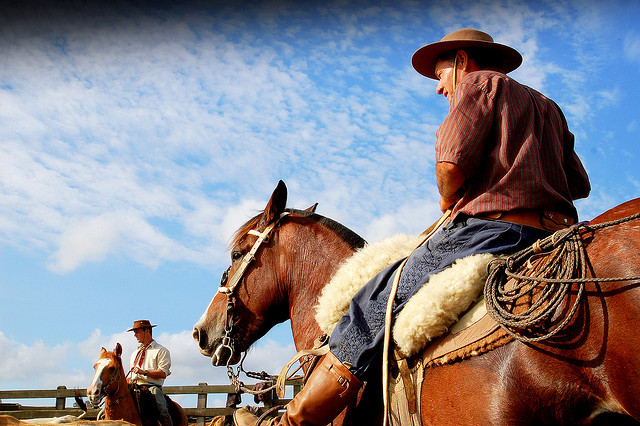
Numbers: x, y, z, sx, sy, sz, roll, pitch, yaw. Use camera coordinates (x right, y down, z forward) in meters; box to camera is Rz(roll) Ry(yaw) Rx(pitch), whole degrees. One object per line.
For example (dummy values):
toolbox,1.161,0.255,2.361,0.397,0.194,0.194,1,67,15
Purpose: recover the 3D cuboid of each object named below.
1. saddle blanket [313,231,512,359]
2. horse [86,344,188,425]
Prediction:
saddle blanket,0.782,0.600,9.005,1.167,0.429,1.375,-1,17,34
horse,-2.580,2.200,15.068,0.702,1.018,0.919,2,-4,-7
